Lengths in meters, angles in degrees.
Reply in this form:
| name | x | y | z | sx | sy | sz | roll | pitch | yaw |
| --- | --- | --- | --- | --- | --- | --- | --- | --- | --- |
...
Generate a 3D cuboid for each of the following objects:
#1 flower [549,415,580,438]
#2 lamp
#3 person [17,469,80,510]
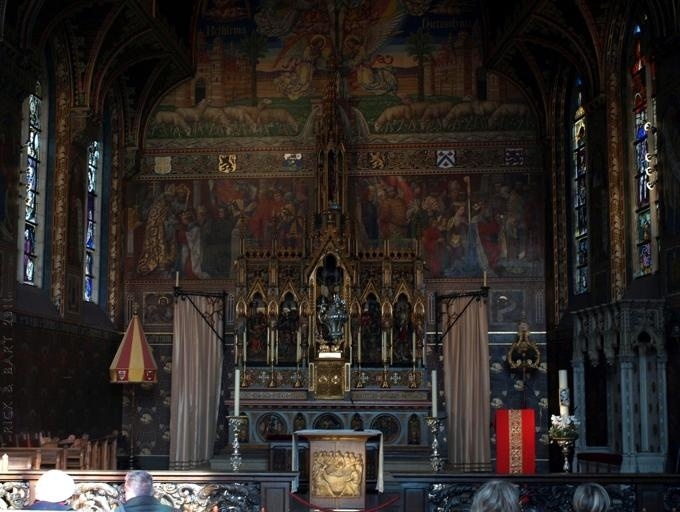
| name | x | y | z | sx | sy | sz | roll | pitch | yaw |
| --- | --- | --- | --- | --- | --- | --- | --- | --- | --- |
| flower | 4.218 | 3.285 | 30.124 | 0.472 | 0.463 | 0.488 | 1 | -9 | -3 |
| lamp | -4.925 | 3.138 | 38.452 | 1.118 | 4.079 | 1.143 | 1 | -14 | -7 |
| person | -4.909 | 4.063 | 27.350 | 0.729 | 0.720 | 0.280 | 2 | -14 | -10 |
